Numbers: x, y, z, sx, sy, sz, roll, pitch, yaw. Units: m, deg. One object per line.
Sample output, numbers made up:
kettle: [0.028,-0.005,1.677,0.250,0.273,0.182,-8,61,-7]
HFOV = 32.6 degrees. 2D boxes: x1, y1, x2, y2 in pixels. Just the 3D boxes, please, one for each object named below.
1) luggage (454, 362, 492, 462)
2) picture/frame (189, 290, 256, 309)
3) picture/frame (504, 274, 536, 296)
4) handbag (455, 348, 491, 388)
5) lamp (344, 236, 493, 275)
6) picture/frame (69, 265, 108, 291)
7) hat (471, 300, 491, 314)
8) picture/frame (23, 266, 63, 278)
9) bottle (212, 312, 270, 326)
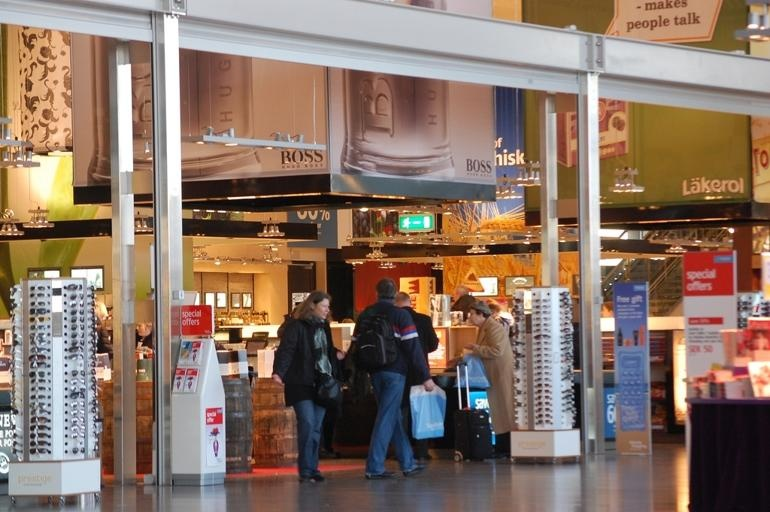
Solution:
luggage: [1.113,2.018,16.761,0.419,1.301,0.414,4,3,6]
picture/frame: [-3.876,1.008,31.782,0.339,0.494,2.500,-4,-6,20]
picture/frame: [2.648,0.543,26.213,0.472,0.365,0.269,-1,1,2]
handbag: [1.137,1.427,17.014,0.445,0.509,0.186,-1,-6,-2]
lamp: [0.835,-0.071,30.950,2.594,0.413,0.201,-5,10,9]
picture/frame: [-4.932,0.338,22.063,0.457,0.378,0.049,2,-1,15]
hat: [1.214,0.637,16.923,0.200,0.111,0.149,37,18,27]
picture/frame: [-7.101,0.275,27.294,0.793,0.191,0.412,-2,-6,0]
bottle: [-3.440,1.452,31.383,1.067,0.345,0.370,2,-3,-16]
